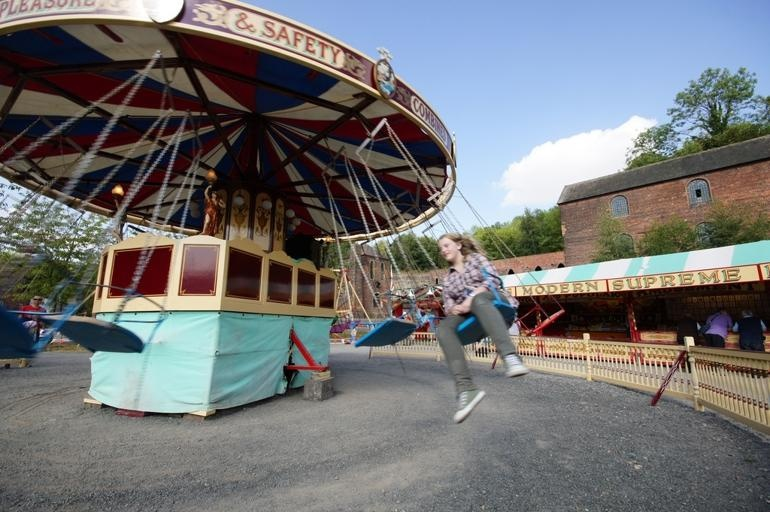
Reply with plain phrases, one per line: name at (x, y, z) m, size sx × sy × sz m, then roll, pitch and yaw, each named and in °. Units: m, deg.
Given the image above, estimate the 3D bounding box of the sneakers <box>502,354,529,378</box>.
sneakers at (1.647, 1.480, 4.570) m, size 0.264 × 0.304 × 0.252 m, roll -1°, pitch -6°, yaw 13°

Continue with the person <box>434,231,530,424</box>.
person at (1.214, 0.976, 4.885) m, size 1.144 × 2.686 × 0.686 m, roll -2°, pitch -6°, yaw 23°

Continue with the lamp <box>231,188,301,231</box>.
lamp at (-3.853, -1.061, 10.607) m, size 1.508 × 0.834 × 1.370 m, roll 1°, pitch -20°, yaw -7°

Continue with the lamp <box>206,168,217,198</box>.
lamp at (-4.806, -2.030, 9.587) m, size 0.242 × 0.845 × 0.997 m, roll 3°, pitch -6°, yaw -26°

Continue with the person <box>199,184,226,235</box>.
person at (-4.786, -1.321, 9.639) m, size 0.410 × 1.548 × 0.709 m, roll 1°, pitch -5°, yaw -6°

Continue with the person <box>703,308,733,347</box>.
person at (12.339, 2.871, 13.307) m, size 1.066 × 1.300 × 0.671 m, roll 6°, pitch -7°, yaw -44°
